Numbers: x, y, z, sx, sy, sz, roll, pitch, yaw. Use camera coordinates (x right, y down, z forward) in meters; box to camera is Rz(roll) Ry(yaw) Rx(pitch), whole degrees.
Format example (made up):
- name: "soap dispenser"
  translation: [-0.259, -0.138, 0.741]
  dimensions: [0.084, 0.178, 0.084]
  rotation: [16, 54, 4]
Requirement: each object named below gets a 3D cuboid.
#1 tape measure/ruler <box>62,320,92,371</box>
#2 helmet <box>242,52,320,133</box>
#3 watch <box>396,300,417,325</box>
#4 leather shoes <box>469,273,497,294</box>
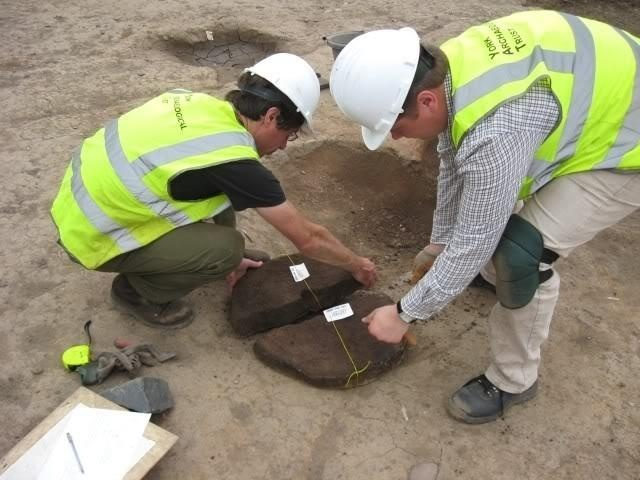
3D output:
- name: "tape measure/ruler"
  translation: [-1.403, 0.622, 3.604]
  dimensions: [0.196, 0.162, 0.237]
  rotation: [-6, 36, -25]
- name: "helmet"
  translation: [-0.260, -0.841, 3.527]
  dimensions: [0.485, 0.383, 0.403]
  rotation: [-2, 39, -15]
- name: "watch"
  translation: [0.432, 0.380, 3.147]
  dimensions: [0.034, 0.114, 0.110]
  rotation: [-36, 100, -12]
- name: "leather shoes"
  translation: [1.025, 0.277, 3.963]
  dimensions: [0.152, 0.098, 0.046]
  rotation: [32, 17, 9]
